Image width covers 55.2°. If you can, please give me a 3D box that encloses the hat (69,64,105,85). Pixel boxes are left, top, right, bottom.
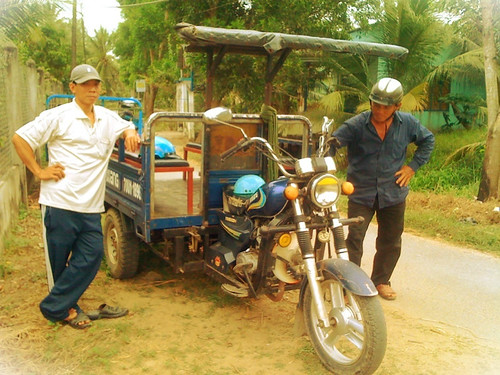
[{"bbox_3d":[-1.737,-1.199,5.075,0.228,0.173,0.306,-12,12,-41],"label":"hat"}]

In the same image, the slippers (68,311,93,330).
[{"bbox_3d":[-1.864,1.464,5.270,0.129,0.110,0.248,-10,9,-39],"label":"slippers"}]

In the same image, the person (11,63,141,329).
[{"bbox_3d":[-1.931,0.072,5.211,1.003,2.766,0.377,0,9,-14],"label":"person"}]

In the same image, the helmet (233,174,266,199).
[{"bbox_3d":[-0.009,0.020,5.530,0.294,0.247,0.229,-26,8,15],"label":"helmet"}]
